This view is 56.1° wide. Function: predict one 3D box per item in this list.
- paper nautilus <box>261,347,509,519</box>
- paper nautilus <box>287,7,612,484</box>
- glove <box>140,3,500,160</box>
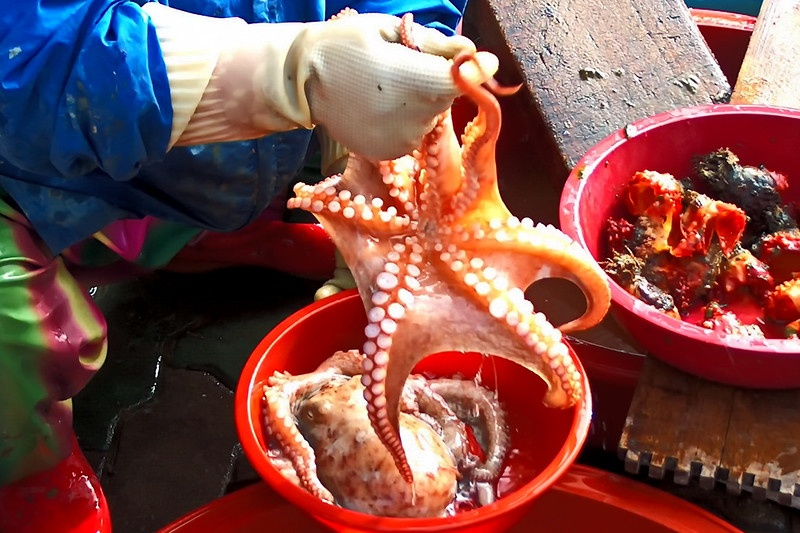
[{"bbox_3d":[-0.039,0.330,1.430,0.475,0.555,0.222,-8,106,-5],"label":"paper nautilus"},{"bbox_3d":[0.111,-0.018,1.382,0.492,0.240,0.730,-26,92,12],"label":"paper nautilus"},{"bbox_3d":[-0.166,-0.298,1.195,0.524,0.177,0.213,7,68,4],"label":"glove"}]
